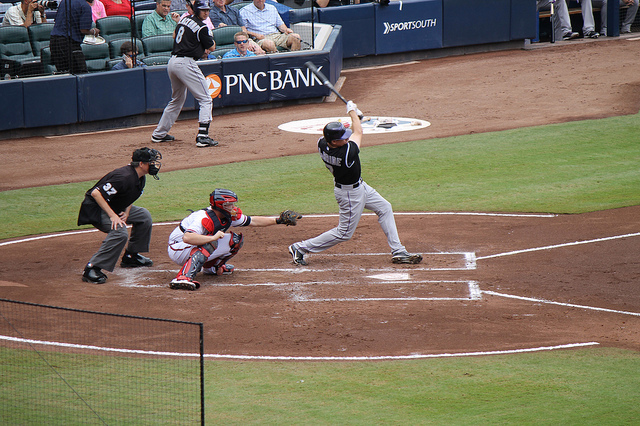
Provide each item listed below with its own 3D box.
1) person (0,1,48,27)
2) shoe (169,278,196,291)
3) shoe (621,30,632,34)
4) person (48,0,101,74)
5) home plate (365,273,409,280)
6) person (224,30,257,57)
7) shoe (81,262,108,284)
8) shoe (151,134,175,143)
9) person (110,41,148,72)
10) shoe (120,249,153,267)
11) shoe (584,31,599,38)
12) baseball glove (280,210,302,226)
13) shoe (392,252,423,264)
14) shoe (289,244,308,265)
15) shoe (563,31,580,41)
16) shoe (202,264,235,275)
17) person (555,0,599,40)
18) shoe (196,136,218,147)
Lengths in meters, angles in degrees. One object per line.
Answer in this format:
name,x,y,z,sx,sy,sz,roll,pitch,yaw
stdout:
person,-6.376,-4.300,23.124,0.744,0.528,0.818,-3,8,10
shoe,-1.982,1.034,15.616,0.392,0.143,0.138,6,47,12
shoe,8.339,-4.920,28.977,0.248,0.100,0.144,-2,9,12
person,-5.088,-3.598,21.991,0.787,1.490,0.593,0,13,36
home plate,1.058,0.951,15.998,0.569,0.070,0.220,-3,7,0
person,-1.685,-3.749,23.546,1.116,0.535,0.436,-6,19,-12
shoe,-3.348,0.882,15.828,0.360,0.305,0.158,-7,10,-8
shoe,-3.126,-1.513,21.489,0.519,0.150,0.158,-6,21,-15
person,-4.067,-3.321,22.698,0.609,0.571,1.048,16,25,19
shoe,-2.825,0.706,16.447,0.570,0.221,0.212,-3,15,-11
shoe,7.429,-4.808,28.706,0.437,0.176,0.294,-9,9,-35
baseball glove,-0.476,0.065,16.068,0.354,0.111,0.285,14,25,14
shoe,1.341,0.687,16.279,0.551,0.156,0.156,-2,-4,3
shoe,-0.326,0.641,16.449,0.210,0.351,0.148,-31,3,9
shoe,6.792,-4.786,28.776,0.553,0.163,0.156,-6,23,11
shoe,-1.516,0.848,16.121,0.471,0.129,0.169,-2,12,-1
person,6.963,-5.202,28.696,0.937,1.027,1.381,-2,9,21
shoe,-2.181,-1.442,21.262,0.496,0.214,0.234,-8,9,-30
